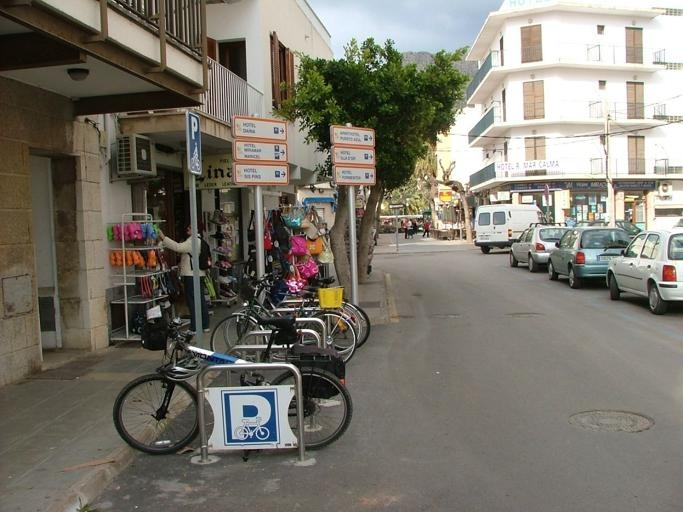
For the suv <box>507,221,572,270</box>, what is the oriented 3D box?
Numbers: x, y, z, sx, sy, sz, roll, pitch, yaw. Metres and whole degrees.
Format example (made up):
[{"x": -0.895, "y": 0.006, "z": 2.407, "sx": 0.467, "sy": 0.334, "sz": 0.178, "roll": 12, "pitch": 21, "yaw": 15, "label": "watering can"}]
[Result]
[{"x": 7.687, "y": -0.339, "z": 23.477, "sx": 1.293, "sy": 1.462, "sz": 3.292, "roll": 0, "pitch": 0, "yaw": 2, "label": "suv"}]

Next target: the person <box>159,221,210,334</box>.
[{"x": -3.009, "y": 0.253, "z": 11.918, "sx": 1.014, "sy": 2.645, "sz": 1.175, "roll": 2, "pitch": 9, "yaw": -2, "label": "person"}]

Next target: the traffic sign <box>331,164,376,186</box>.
[{"x": 0.237, "y": -1.534, "z": 12.443, "sx": 0.347, "sy": 0.351, "sz": 1.113, "roll": 2, "pitch": 5, "yaw": 42, "label": "traffic sign"}]

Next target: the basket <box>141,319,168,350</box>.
[{"x": -1.954, "y": 0.828, "z": 6.942, "sx": 0.301, "sy": 0.348, "sz": 0.252, "roll": 3, "pitch": 1, "yaw": -2, "label": "basket"}]

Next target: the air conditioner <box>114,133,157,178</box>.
[{"x": -3.799, "y": -1.824, "z": 11.846, "sx": 0.431, "sy": 0.820, "sz": 0.844, "roll": -1, "pitch": -1, "yaw": 17, "label": "air conditioner"}]

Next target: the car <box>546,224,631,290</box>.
[{"x": 7.097, "y": -0.118, "z": 18.554, "sx": 1.866, "sy": 1.974, "sz": 2.050, "roll": 3, "pitch": 6, "yaw": 6, "label": "car"}]

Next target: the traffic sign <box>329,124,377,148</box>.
[{"x": 0.208, "y": -2.267, "z": 12.386, "sx": 1.112, "sy": 0.393, "sz": 0.173, "roll": -5, "pitch": 5, "yaw": -44, "label": "traffic sign"}]

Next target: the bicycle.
[{"x": -1.184, "y": 1.344, "z": 7.075, "sx": 2.473, "sy": 1.454, "sz": 0.785, "roll": -1, "pitch": 4, "yaw": 5, "label": "bicycle"}]

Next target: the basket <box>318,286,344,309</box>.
[{"x": -0.173, "y": 0.643, "z": 10.156, "sx": 0.310, "sy": 0.243, "sz": 0.328, "roll": -2, "pitch": 0, "yaw": 19, "label": "basket"}]

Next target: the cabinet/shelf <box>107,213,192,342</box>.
[{"x": -3.691, "y": 0.255, "z": 12.046, "sx": 1.365, "sy": 2.904, "sz": 1.498, "roll": 3, "pitch": 11, "yaw": 3, "label": "cabinet/shelf"}]

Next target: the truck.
[{"x": 8.596, "y": -1.473, "z": 34.048, "sx": 1.664, "sy": 2.314, "sz": 4.526, "roll": 1, "pitch": 2, "yaw": 39, "label": "truck"}]

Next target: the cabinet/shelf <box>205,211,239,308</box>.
[{"x": -3.110, "y": 0.192, "z": 16.387, "sx": 0.730, "sy": 2.534, "sz": 0.924, "roll": 3, "pitch": 10, "yaw": 3, "label": "cabinet/shelf"}]
